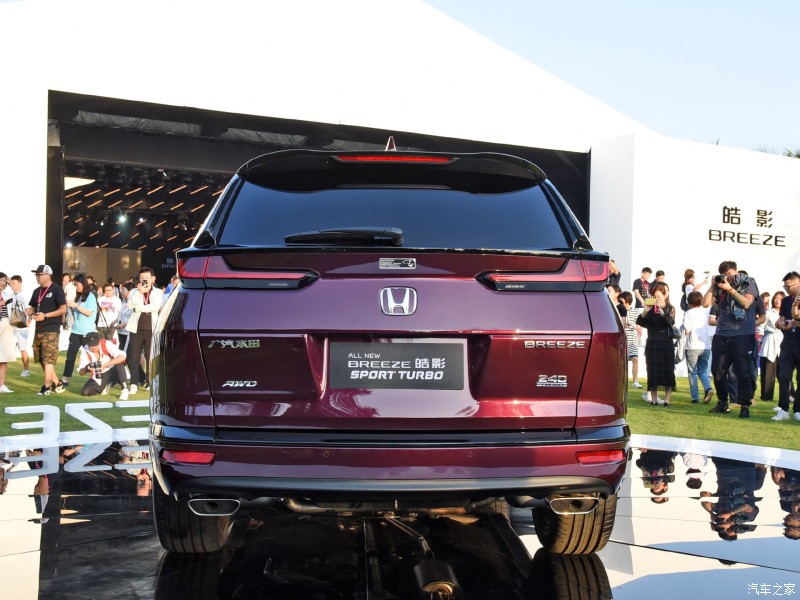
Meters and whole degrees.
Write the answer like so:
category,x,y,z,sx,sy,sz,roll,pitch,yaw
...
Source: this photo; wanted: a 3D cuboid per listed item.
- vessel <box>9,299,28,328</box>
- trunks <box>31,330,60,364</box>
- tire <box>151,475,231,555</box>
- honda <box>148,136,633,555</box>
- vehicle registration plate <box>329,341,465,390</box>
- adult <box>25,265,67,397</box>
category,x,y,z,sx,sy,sz,roll,pitch,yaw
vessel,-6.428,0.271,12.316,0.241,0.405,1.197,1,-1,-27
trunks,-5.853,0.805,12.131,0.324,0.559,0.532,2,-1,-40
tire,-1.216,1.227,4.457,0.551,0.214,0.565,-11,40,-13
honda,-0.173,-0.089,5.687,2.599,1.954,4.437,1,12,-4
vehicle registration plate,-0.013,0.323,3.584,0.651,0.226,0.118,1,-1,-11
adult,-5.973,0.499,12.347,0.700,2.149,0.721,-4,-3,44
